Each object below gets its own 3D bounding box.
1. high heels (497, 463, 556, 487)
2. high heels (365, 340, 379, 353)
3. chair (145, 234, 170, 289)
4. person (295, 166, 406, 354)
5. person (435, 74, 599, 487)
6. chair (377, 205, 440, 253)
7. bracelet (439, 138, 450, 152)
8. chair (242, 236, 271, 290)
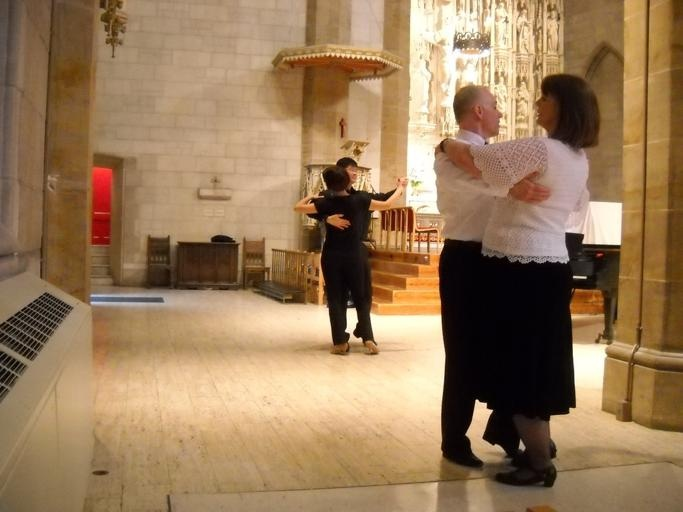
[{"bbox_3d":[0.961,1.124,3.003,0.303,0.113,0.110,4,-4,7],"label":"high heels"},{"bbox_3d":[0.326,0.950,6.002,0.099,0.155,0.063,-17,-11,-21],"label":"high heels"},{"bbox_3d":[-4.028,0.110,12.776,0.505,1.107,0.256,1,2,-13],"label":"chair"},{"bbox_3d":[0.037,0.072,5.823,0.761,1.867,0.380,0,2,-26],"label":"person"},{"bbox_3d":[0.938,0.127,2.927,0.635,2.085,0.322,1,2,-22],"label":"person"},{"bbox_3d":[1.453,-0.546,12.561,0.506,0.657,1.394,-3,5,-19],"label":"chair"},{"bbox_3d":[0.541,-0.593,3.078,0.061,0.065,0.067,-1,1,-4],"label":"bracelet"},{"bbox_3d":[-1.933,0.144,13.059,0.620,1.098,0.631,1,2,-10],"label":"chair"}]
